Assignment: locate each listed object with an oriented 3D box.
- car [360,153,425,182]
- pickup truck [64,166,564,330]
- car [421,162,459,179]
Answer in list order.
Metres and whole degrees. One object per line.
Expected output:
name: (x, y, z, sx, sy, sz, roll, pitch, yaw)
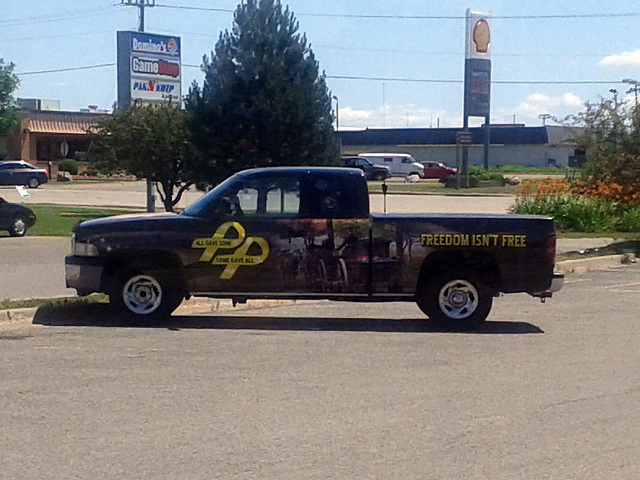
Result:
car: (6.379, -6.196, 72.291, 4.681, 2.328, 2.447, 2, 4, 11)
pickup truck: (-0.034, 0.494, 13.288, 7.102, 2.598, 2.769, 2, -16, 2)
car: (9.705, -5.337, 69.452, 2.854, 1.449, 1.702, -2, 6, 10)
